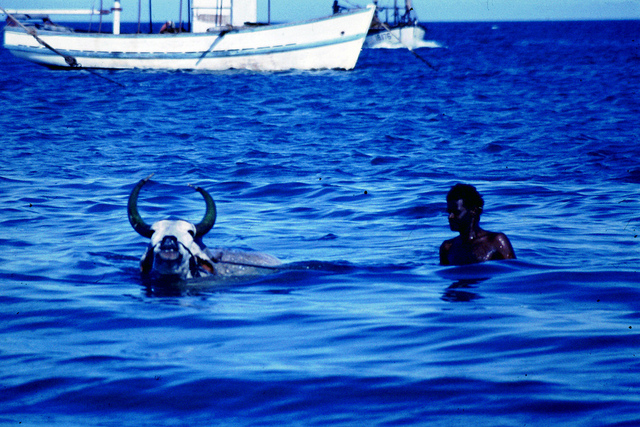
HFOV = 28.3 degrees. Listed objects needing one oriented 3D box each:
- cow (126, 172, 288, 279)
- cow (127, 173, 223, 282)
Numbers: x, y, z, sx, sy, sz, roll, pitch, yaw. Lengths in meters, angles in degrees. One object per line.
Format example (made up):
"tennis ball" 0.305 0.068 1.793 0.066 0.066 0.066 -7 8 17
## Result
"cow" -2.750 0.279 28.290 2.876 2.272 0.891 -2 10 -15
"cow" -3.391 0.698 28.684 2.316 2.655 2.377 1 -5 -6
